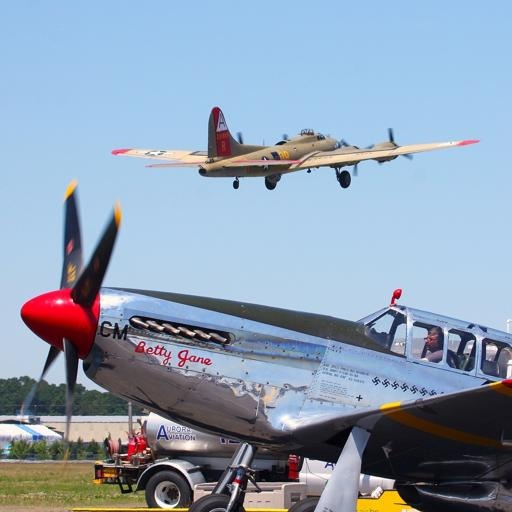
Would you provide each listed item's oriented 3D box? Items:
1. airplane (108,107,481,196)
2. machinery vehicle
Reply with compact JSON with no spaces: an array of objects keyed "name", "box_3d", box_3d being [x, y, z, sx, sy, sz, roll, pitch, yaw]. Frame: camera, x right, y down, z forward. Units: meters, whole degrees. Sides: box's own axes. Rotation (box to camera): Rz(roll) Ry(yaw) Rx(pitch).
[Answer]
[{"name":"airplane","box_3d":[1.973,-4.160,35.695,8.895,2.163,10.259,0,6,12]},{"name":"machinery vehicle","box_3d":[-0.652,4.254,16.800,6.500,1.999,2.651,0,-4,7]}]
